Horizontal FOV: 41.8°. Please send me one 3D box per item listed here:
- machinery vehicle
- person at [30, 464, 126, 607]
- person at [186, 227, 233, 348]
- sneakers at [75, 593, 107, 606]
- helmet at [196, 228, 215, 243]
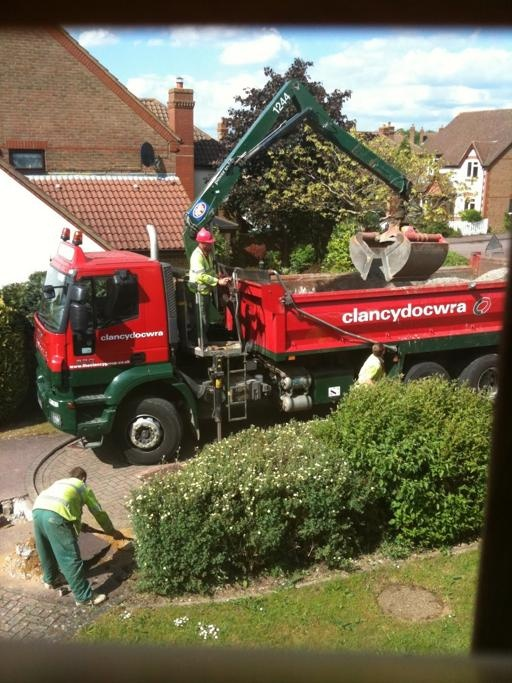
[{"bbox_3d":[1.116,-0.965,12.149,10.173,6.134,3.532,-3,11,-17],"label":"machinery vehicle"},{"bbox_3d":[-1.596,1.710,6.030,0.881,1.046,0.817,1,-6,-22],"label":"person"},{"bbox_3d":[-0.636,-0.779,9.334,0.574,1.607,1.300,-4,10,-3],"label":"person"},{"bbox_3d":[-1.372,2.136,5.627,0.223,0.090,0.092,-4,14,-18],"label":"sneakers"},{"bbox_3d":[-0.678,-1.443,9.095,0.202,0.145,0.238,-7,20,-33],"label":"helmet"}]
